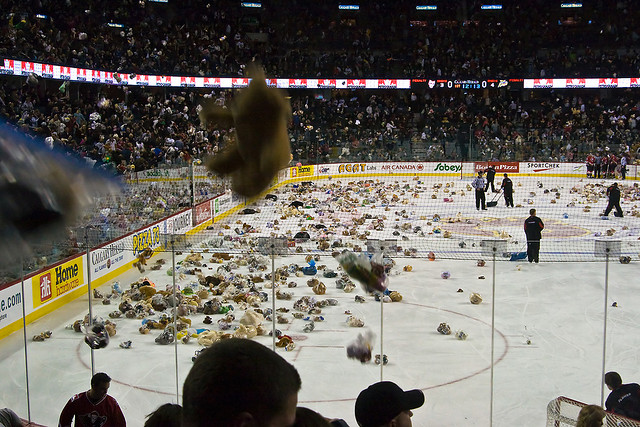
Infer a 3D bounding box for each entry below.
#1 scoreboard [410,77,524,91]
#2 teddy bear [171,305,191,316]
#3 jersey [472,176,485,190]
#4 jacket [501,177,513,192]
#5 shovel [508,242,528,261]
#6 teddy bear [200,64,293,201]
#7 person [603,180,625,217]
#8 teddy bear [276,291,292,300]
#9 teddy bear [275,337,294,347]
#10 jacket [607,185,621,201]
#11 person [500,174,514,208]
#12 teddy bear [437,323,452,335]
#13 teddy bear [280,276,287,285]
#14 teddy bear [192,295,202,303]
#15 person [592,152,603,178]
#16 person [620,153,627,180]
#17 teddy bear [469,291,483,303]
[{"bbox_3d":[11.837,-10.757,46.862,8.810,1.194,0.688,4,7,5],"label":"scoreboard"},{"bbox_3d":[-3.508,2.525,14.607,0.133,0.326,0.476,6,8,29],"label":"teddy bear"},{"bbox_3d":[7.628,-1.577,27.353,0.860,0.712,0.452,1,4,10],"label":"jersey"},{"bbox_3d":[9.149,-1.389,27.825,0.457,0.696,0.597,5,7,15],"label":"jacket"},{"bbox_3d":[6.693,1.439,19.177,0.549,0.367,0.388,5,7,18],"label":"shovel"},{"bbox_3d":[-0.527,-0.586,4.079,0.654,0.963,0.254,2,7,-9],"label":"teddy bear"},{"bbox_3d":[13.654,-0.652,26.233,0.836,1.560,2.482,6,8,29],"label":"person"},{"bbox_3d":[-1.012,2.287,15.696,0.259,0.139,0.327,3,0,3],"label":"teddy bear"},{"bbox_3d":[-0.811,2.931,12.850,0.268,0.132,0.207,-2,7,8],"label":"teddy bear"},{"bbox_3d":[13.186,-0.929,25.524,0.348,0.724,0.488,2,7,-7],"label":"jacket"},{"bbox_3d":[9.292,-1.114,28.103,0.667,1.664,1.540,5,7,18],"label":"person"},{"bbox_3d":[2.999,2.764,13.629,0.316,0.218,0.405,9,9,42],"label":"teddy bear"},{"bbox_3d":[-1.099,2.011,16.893,0.174,0.178,0.081,-1,-8,5],"label":"teddy bear"},{"bbox_3d":[-3.340,2.321,15.358,0.172,0.057,0.174,11,8,-4],"label":"teddy bear"},{"bbox_3d":[18.022,-3.130,36.976,0.538,1.611,0.385,6,7,25],"label":"person"},{"bbox_3d":[19.449,-3.030,36.475,0.355,1.689,0.879,6,7,28],"label":"person"},{"bbox_3d":[4.219,2.307,15.371,0.262,0.178,0.268,28,-3,39],"label":"teddy bear"}]
